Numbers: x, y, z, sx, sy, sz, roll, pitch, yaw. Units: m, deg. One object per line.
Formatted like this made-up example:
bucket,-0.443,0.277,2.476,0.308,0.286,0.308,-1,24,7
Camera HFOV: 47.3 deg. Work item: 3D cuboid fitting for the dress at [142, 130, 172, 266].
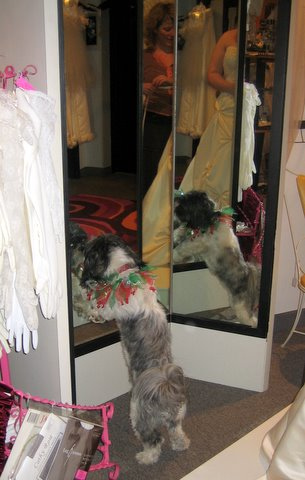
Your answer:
dress,0.025,-0.211,1.952,0.181,0.747,0.117,-2,7,-10

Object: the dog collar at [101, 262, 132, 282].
dog collar,-0.174,0.154,1.676,0.102,0.042,0.078,-36,5,17

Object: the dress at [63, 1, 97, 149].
dress,-0.316,-0.702,1.525,0.071,0.593,0.180,5,9,43

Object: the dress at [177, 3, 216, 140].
dress,0.221,-0.855,1.779,0.201,0.606,0.082,1,7,16

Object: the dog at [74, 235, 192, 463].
dog,-0.102,0.340,1.705,0.369,1.146,0.464,-7,-21,-16
